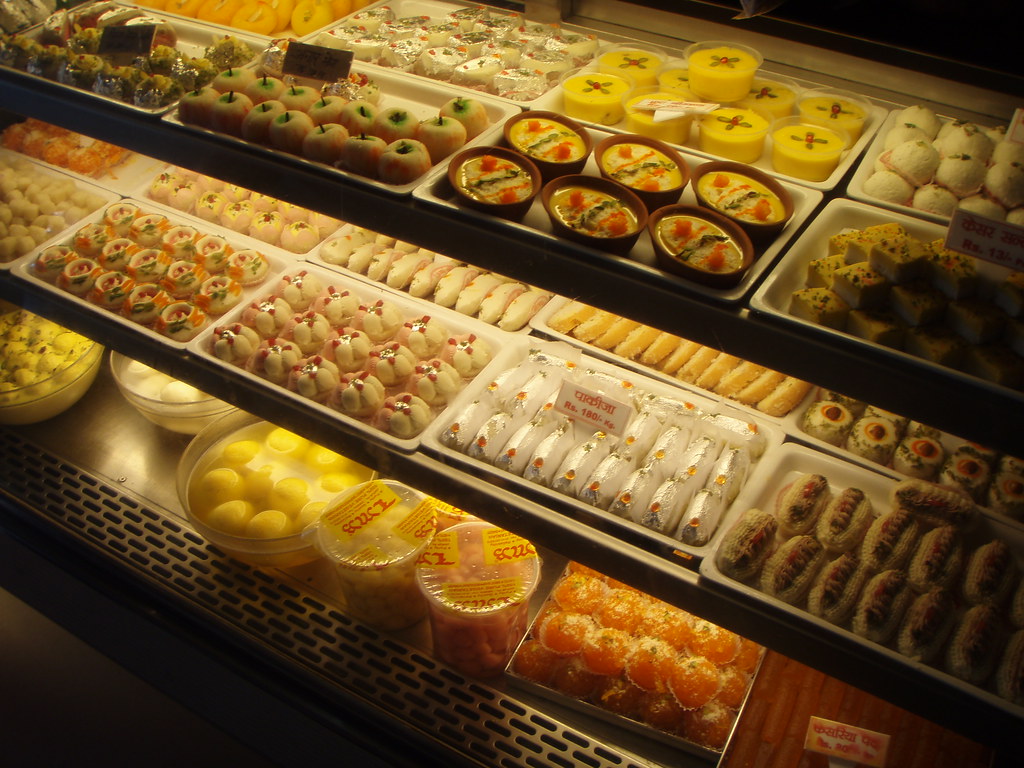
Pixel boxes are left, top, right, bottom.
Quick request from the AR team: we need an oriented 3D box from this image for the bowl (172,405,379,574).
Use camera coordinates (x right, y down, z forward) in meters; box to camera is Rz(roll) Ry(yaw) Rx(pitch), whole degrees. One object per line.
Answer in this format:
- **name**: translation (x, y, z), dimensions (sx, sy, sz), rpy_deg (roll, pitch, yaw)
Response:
- **bowl**: translation (-0.810, 0.328, 2.416), dimensions (0.682, 0.211, 0.558), rpy_deg (11, 32, 5)
